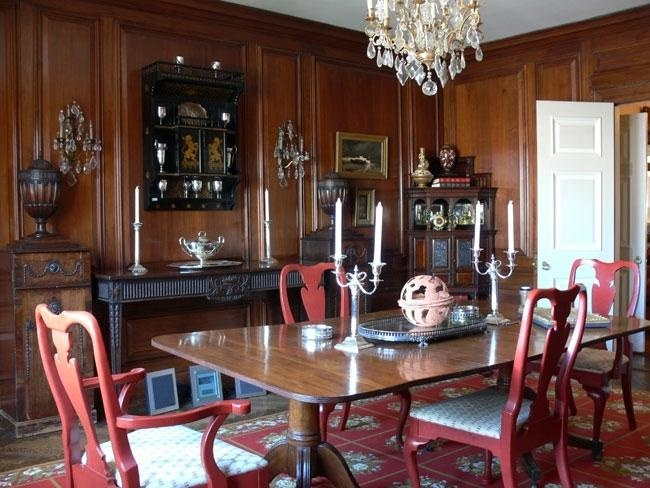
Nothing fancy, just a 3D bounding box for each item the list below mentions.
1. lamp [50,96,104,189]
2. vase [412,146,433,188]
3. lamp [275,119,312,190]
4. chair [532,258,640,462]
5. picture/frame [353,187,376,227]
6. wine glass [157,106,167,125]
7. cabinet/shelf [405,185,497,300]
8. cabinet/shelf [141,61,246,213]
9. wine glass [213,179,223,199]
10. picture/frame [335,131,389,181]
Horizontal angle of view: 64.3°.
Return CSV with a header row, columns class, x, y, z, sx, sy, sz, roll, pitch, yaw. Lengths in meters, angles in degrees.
class,x,y,z,sx,sy,sz,roll,pitch,yaw
lamp,-2.077,-0.850,4.339,0.380,0.704,0.101,-7,6,-37
vase,1.155,-0.909,6.111,0.258,0.440,0.248,-4,11,-17
lamp,-0.356,-0.929,5.347,0.410,0.636,0.225,-4,3,-39
chair,1.807,0.734,3.739,0.736,1.350,0.840,1,1,41
picture/frame,0.449,-0.408,5.853,0.320,0.427,0.080,-8,7,-43
wine glass,-1.422,-1.133,4.555,0.072,0.159,0.123,-1,6,21
cabinet/shelf,1.439,-0.002,5.974,0.943,1.386,0.437,0,3,14
cabinet/shelf,-1.139,-0.910,4.688,0.775,1.225,0.304,-1,-2,-24
wine glass,-0.989,-0.523,4.813,0.122,0.223,0.124,1,0,-6
picture/frame,0.422,-0.997,5.840,0.727,0.523,0.027,-6,6,-32
